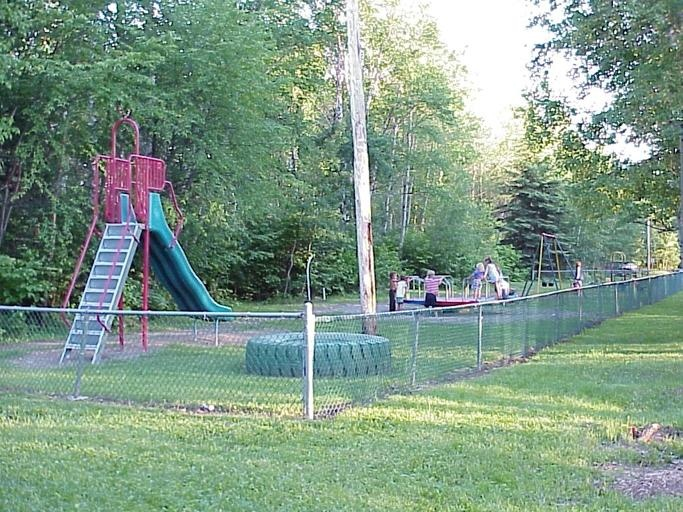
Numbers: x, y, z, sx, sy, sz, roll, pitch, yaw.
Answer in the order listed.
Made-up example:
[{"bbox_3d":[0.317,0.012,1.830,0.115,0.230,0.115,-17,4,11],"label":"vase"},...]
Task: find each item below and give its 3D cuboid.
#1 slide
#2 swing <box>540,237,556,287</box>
[{"bbox_3d":[-4.879,-0.036,28.628,1.355,3.822,2.478,7,11,32],"label":"slide"},{"bbox_3d":[11.989,0.428,57.264,0.875,2.343,2.952,-2,-2,16],"label":"swing"}]
